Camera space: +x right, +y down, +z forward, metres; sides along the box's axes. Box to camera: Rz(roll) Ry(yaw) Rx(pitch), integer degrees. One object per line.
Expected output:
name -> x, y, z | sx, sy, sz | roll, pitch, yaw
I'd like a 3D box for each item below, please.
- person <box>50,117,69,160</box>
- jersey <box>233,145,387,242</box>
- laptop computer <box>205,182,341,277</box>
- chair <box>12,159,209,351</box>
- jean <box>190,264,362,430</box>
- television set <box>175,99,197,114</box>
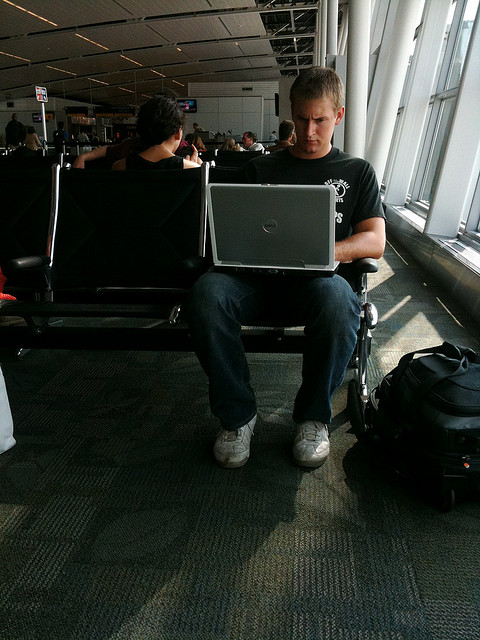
person -> -5.779, -5.622, 14.603 | 0.440, 1.309, 0.403 | 9, 13, 13
jersey -> 0.260, -0.430, 1.765 | 0.587, 0.468, 0.252 | 5, 19, 10
laptop computer -> 0.120, -0.343, 1.442 | 0.384, 0.277, 0.303 | 6, 36, 14
chair -> -0.528, -0.258, 1.860 | 0.759, 0.747, 0.603 | 1, 18, 5
jean -> 0.129, 0.129, 1.608 | 0.425, 0.510, 0.571 | 1, -16, 4
television set -> -2.390, -9.955, 21.102 | 0.624, 0.611, 1.284 | 3, 11, 14
